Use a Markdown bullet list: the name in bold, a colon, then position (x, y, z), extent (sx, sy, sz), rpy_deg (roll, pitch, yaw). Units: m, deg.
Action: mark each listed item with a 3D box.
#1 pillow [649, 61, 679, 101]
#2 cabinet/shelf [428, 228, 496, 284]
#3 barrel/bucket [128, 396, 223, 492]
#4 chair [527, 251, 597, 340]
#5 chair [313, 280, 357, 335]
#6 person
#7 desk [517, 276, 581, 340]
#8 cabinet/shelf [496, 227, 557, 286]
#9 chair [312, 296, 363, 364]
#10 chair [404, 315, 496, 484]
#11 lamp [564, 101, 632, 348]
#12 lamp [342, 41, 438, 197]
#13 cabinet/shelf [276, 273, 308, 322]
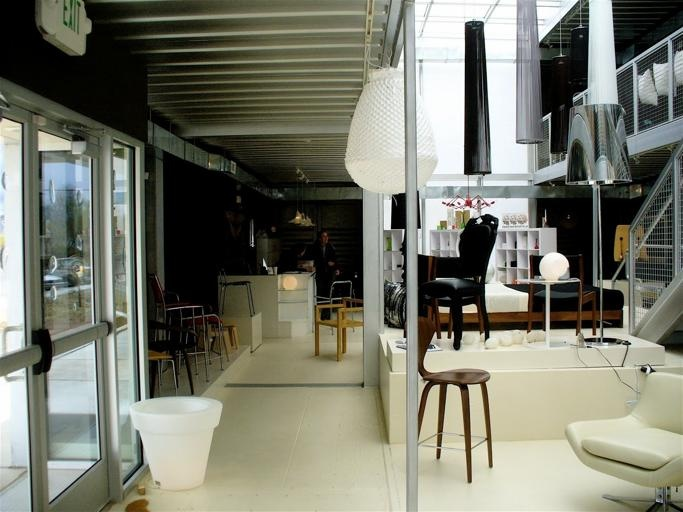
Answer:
- **pillow**: position (5.284, -2.908, 9.618), extent (0.150, 0.549, 0.485), rpy_deg (-10, 13, -30)
- **cabinet/shelf**: position (1.373, -0.064, 6.664), extent (0.668, 1.023, 0.707), rpy_deg (0, 2, 4)
- **barrel/bucket**: position (-1.440, 1.666, 5.198), extent (0.788, 0.692, 0.786), rpy_deg (0, -3, 0)
- **chair**: position (3.185, 0.559, 8.669), extent (0.777, 1.369, 0.881), rpy_deg (4, 11, 33)
- **chair**: position (0.001, 1.058, 12.649), extent (0.573, 1.069, 0.645), rpy_deg (-2, 0, -14)
- **person**: position (-0.407, 0.419, 12.856), extent (0.782, 2.049, 0.668), rpy_deg (-4, 23, -3)
- **desk**: position (2.870, 0.730, 8.020), extent (0.816, 0.941, 0.848), rpy_deg (-1, 4, 6)
- **cabinet/shelf**: position (3.795, -0.026, 11.979), extent (0.377, 1.298, 1.191), rpy_deg (4, -5, -37)
- **chair**: position (-0.088, 1.149, 9.519), extent (0.626, 0.777, 0.497), rpy_deg (5, 2, 44)
- **chair**: position (0.995, 1.287, 5.344), extent (0.659, 1.436, 0.607), rpy_deg (-1, -2, 32)
- **lamp**: position (3.173, -0.339, 7.258), extent (0.698, 2.793, 2.499), rpy_deg (2, 5, 23)
- **lamp**: position (0.386, -0.991, 4.540), extent (0.656, 0.988, 0.510), rpy_deg (3, 6, 35)
- **cabinet/shelf**: position (-0.924, 0.863, 11.324), extent (0.599, 0.941, 0.437), rpy_deg (0, -2, -3)
